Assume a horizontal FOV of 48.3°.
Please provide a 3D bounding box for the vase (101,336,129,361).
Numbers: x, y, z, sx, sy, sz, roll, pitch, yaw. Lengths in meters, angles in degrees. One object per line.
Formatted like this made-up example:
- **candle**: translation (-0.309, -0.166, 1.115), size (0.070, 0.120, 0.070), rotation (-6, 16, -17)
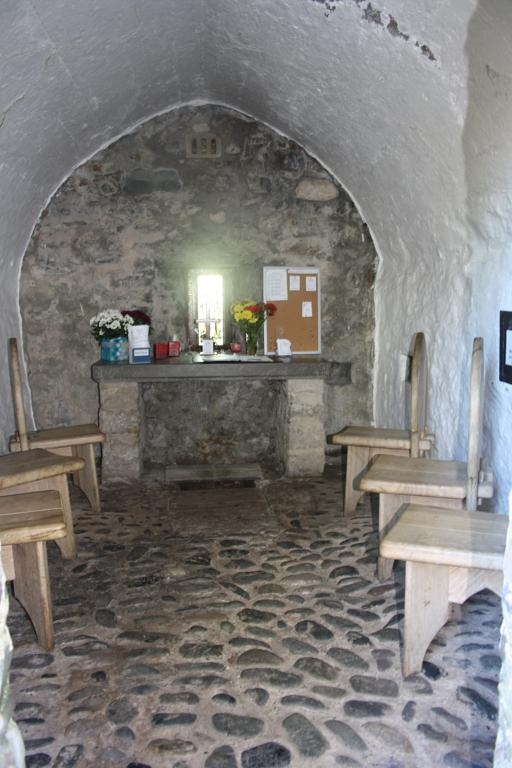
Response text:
- **vase**: translation (-1.077, -0.262, 4.337), size (0.180, 0.197, 0.188), rotation (-1, 11, -11)

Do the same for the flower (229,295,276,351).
- **flower**: translation (-0.054, -0.496, 4.670), size (0.379, 0.420, 0.398), rotation (-3, 9, -10)

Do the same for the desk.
- **desk**: translation (-0.351, 0.254, 4.584), size (1.727, 0.921, 0.768), rotation (-1, 6, -6)

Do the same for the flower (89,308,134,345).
- **flower**: translation (-1.100, -0.446, 4.296), size (0.241, 0.199, 0.260), rotation (20, 30, 21)

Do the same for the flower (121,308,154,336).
- **flower**: translation (-0.916, -0.492, 4.424), size (0.171, 0.127, 0.178), rotation (2, 16, -13)

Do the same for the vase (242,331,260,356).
- **vase**: translation (-0.049, -0.348, 4.766), size (0.161, 0.292, 0.176), rotation (2, 9, -4)
